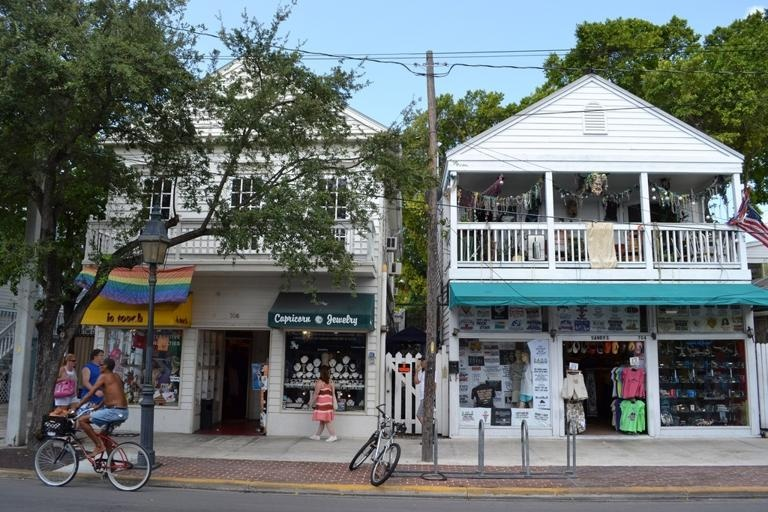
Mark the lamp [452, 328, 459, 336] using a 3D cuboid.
[{"bbox_3d":[2.396,2.501,22.475,0.237,0.253,0.077,7,-11,-30],"label":"lamp"}]

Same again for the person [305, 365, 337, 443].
[{"bbox_3d":[-1.847,4.753,21.954,0.849,2.346,1.055,2,-10,-4],"label":"person"}]

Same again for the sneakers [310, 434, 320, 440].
[{"bbox_3d":[-2.155,5.812,21.798,0.135,0.165,0.367,5,-6,-42],"label":"sneakers"}]

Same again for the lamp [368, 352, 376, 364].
[{"bbox_3d":[-0.331,3.407,22.741,0.365,0.541,0.281,0,-12,-1],"label":"lamp"}]

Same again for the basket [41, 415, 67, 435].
[{"bbox_3d":[-8.134,4.238,17.042,0.723,0.550,0.411,0,-3,12],"label":"basket"}]

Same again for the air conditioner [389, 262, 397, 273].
[{"bbox_3d":[0.412,0.454,25.539,0.293,0.449,0.303,0,-8,-2],"label":"air conditioner"}]

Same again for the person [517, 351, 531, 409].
[{"bbox_3d":[4.679,4.069,22.438,0.440,1.836,0.222,-2,-10,19],"label":"person"}]

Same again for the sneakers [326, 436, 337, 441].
[{"bbox_3d":[-1.638,5.822,21.626,0.235,0.100,0.166,-4,-6,7],"label":"sneakers"}]

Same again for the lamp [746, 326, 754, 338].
[{"bbox_3d":[12.014,2.502,22.373,0.228,0.368,0.072,2,-10,-8],"label":"lamp"}]

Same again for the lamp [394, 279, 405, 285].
[{"bbox_3d":[1.188,1.781,45.123,0.473,0.355,0.508,-3,-7,17],"label":"lamp"}]

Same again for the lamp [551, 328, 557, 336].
[{"bbox_3d":[5.577,2.541,22.318,0.181,0.357,0.189,0,-7,5],"label":"lamp"}]
